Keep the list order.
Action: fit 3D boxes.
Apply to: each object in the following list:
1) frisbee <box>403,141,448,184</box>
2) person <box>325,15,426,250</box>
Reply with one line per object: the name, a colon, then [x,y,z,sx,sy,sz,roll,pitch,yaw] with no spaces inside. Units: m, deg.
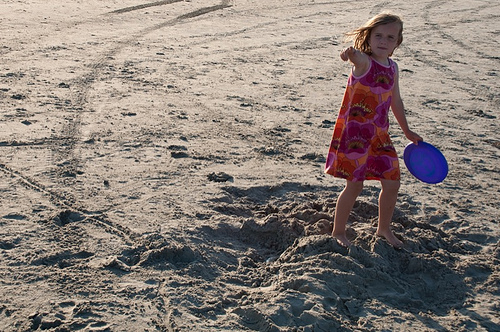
frisbee: [2.043,-0.049,8.290,0.500,0.490,0.089,-20,14,37]
person: [1.391,-0.385,8.084,0.975,2.560,0.737,4,18,-5]
